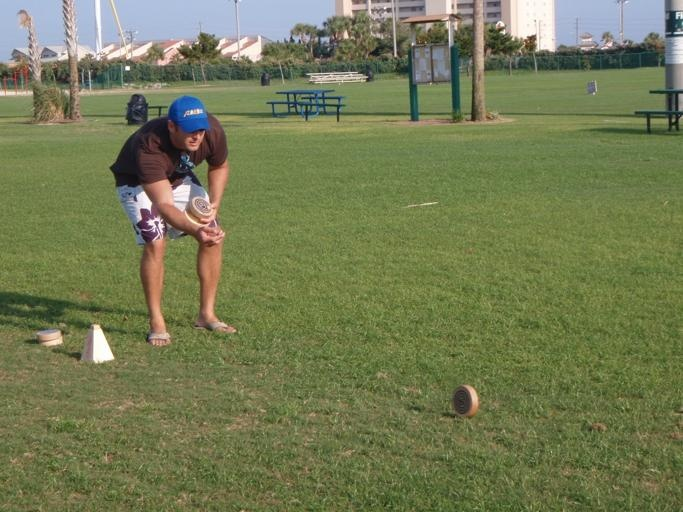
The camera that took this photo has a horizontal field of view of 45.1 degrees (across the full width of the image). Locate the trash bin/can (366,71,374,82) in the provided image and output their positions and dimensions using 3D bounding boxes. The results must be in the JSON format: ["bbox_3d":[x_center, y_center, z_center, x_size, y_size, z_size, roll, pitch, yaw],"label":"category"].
[{"bbox_3d":[2.526,-16.572,75.386,0.645,0.868,1.259,-4,15,-4],"label":"trash bin/can"}]

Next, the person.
[{"bbox_3d":[-1.400,-0.291,7.011,0.970,2.103,0.921,-5,13,-9],"label":"person"}]

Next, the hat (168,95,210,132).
[{"bbox_3d":[-1.198,-1.170,6.667,0.308,0.232,0.430,-7,27,-38],"label":"hat"}]
